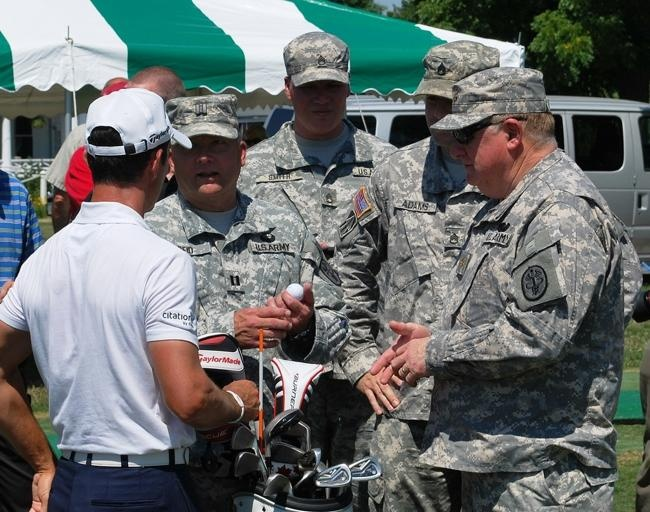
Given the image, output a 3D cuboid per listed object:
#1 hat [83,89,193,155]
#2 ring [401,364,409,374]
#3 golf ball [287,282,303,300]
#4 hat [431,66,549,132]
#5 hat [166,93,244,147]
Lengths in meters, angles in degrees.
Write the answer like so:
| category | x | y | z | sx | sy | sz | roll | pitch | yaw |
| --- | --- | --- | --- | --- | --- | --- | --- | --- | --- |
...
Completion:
| category | x | y | z | sx | sy | sz | roll | pitch | yaw |
| --- | --- | --- | --- | --- | --- | --- | --- | --- | --- |
| hat | -0.842 | -0.616 | 5.177 | 0.252 | 0.209 | 0.401 | 8 | 18 | 29 |
| ring | 0.380 | 0.548 | 5.565 | 0.039 | 0.029 | 0.054 | 11 | -18 | 1 |
| golf ball | -0.146 | 0.181 | 5.728 | 0.081 | 0.087 | 0.109 | 3 | 7 | 23 |
| hat | 0.800 | -0.747 | 5.363 | 0.431 | 0.203 | 0.313 | -1 | -1 | 6 |
| hat | -0.618 | -0.685 | 5.846 | 0.335 | 0.161 | 0.415 | -3 | 24 | -4 |
